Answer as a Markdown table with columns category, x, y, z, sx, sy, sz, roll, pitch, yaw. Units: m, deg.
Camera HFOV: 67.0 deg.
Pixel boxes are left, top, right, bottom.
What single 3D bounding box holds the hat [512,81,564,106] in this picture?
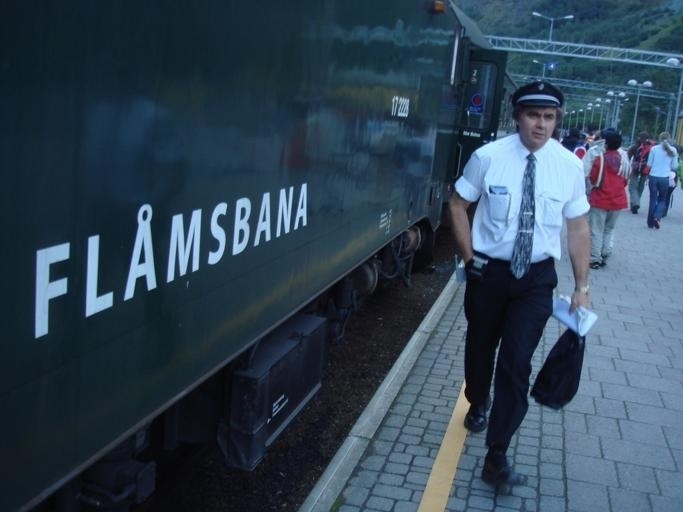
| category | x | y | z | sx | sy | sz | roll | pitch | yaw |
| --- | --- | --- | --- | --- | --- | --- | --- | --- | --- |
| hat | 1.182 | -0.963 | 3.082 | 0.295 | 0.153 | 0.223 | 4 | 13 | 19 |

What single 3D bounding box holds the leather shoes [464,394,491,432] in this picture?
| category | x | y | z | sx | sy | sz | roll | pitch | yaw |
| --- | --- | --- | --- | --- | --- | --- | --- | --- | --- |
| leather shoes | 1.041 | 1.189 | 3.902 | 0.114 | 0.146 | 0.331 | 3 | 5 | 23 |

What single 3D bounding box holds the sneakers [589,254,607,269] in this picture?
| category | x | y | z | sx | sy | sz | roll | pitch | yaw |
| --- | --- | --- | --- | --- | --- | --- | --- | --- | --- |
| sneakers | 4.263 | 0.100 | 8.519 | 0.156 | 0.240 | 0.522 | 3 | 14 | 19 |

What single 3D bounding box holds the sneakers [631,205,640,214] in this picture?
| category | x | y | z | sx | sy | sz | roll | pitch | yaw |
| --- | --- | --- | --- | --- | --- | --- | --- | --- | --- |
| sneakers | 8.045 | -1.271 | 14.086 | 0.190 | 0.208 | 0.126 | -13 | 20 | -17 |

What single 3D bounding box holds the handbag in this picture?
| category | x | y | z | sx | sy | sz | roll | pitch | yaw |
| --- | --- | --- | --- | --- | --- | --- | --- | --- | --- |
| handbag | 1.675 | 0.902 | 3.966 | 0.215 | 0.771 | 0.330 | -33 | 58 | -15 |
